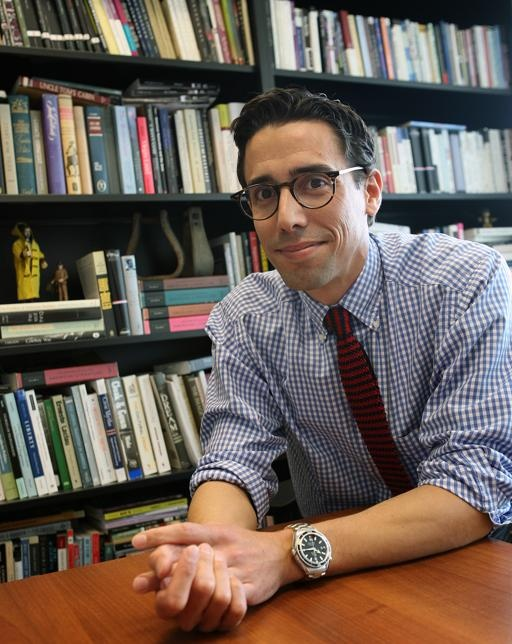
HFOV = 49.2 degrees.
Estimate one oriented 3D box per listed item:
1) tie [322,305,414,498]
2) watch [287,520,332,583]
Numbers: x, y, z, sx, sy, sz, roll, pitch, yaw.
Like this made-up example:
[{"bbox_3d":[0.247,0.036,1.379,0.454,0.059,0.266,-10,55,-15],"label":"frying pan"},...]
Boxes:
[{"bbox_3d":[0.184,0.139,0.942,0.104,0.316,0.092,-9,0,22],"label":"tie"},{"bbox_3d":[0.056,0.258,0.629,0.030,0.032,0.055,10,-1,-14],"label":"watch"}]
